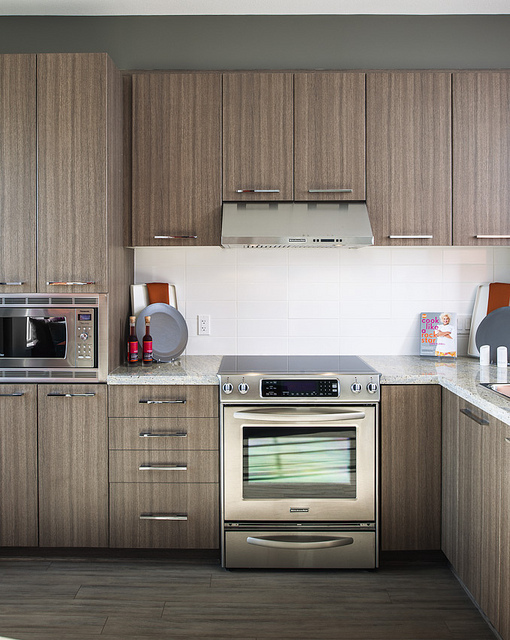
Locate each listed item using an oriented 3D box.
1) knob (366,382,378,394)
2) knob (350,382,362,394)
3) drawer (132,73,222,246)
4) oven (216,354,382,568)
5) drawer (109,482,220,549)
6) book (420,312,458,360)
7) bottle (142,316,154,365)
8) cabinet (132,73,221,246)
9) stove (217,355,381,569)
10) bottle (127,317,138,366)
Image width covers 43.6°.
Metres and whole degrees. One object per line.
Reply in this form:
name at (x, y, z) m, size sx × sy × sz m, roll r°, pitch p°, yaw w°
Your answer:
knob at (0.506, 0.292, 2.767) m, size 0.051 × 0.048 × 0.013 m, roll 2°, pitch 5°, yaw 1°
knob at (0.441, 0.293, 2.761) m, size 0.046 × 0.043 × 0.016 m, roll 3°, pitch 4°, yaw -4°
drawer at (-0.372, -0.761, 3.062) m, size 0.431 × 0.802 × 0.109 m, roll 0°, pitch 10°, yaw 1°
oven at (0.212, 0.664, 3.066) m, size 0.887 × 0.870 × 0.838 m, roll 0°, pitch 0°, yaw 32°
drawer at (-0.408, 0.875, 2.967) m, size 0.363 × 0.218 × 0.365 m, roll 0°, pitch -4°, yaw 0°
book at (0.963, 0.088, 3.339) m, size 0.251 × 0.309 × 0.024 m, roll 1°, pitch -8°, yaw 14°
bottle at (-0.525, 0.096, 3.132) m, size 0.056 × 0.230 × 0.192 m, roll -2°, pitch 11°, yaw -9°
cabinet at (-0.487, -0.811, 3.249) m, size 0.612 × 0.797 × 0.593 m, roll -6°, pitch 19°, yaw -16°
stove at (0.204, 0.676, 3.038) m, size 0.724 × 0.858 × 0.635 m, roll 0°, pitch -4°, yaw 5°
bottle at (-0.588, 0.101, 3.068) m, size 0.047 × 0.235 × 0.077 m, roll -2°, pitch 11°, yaw -10°
